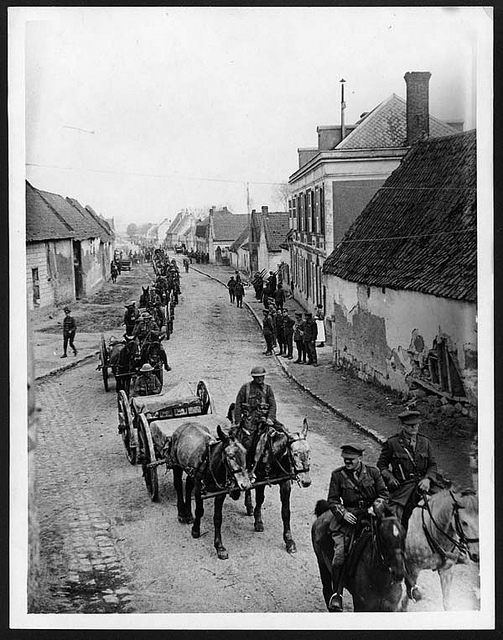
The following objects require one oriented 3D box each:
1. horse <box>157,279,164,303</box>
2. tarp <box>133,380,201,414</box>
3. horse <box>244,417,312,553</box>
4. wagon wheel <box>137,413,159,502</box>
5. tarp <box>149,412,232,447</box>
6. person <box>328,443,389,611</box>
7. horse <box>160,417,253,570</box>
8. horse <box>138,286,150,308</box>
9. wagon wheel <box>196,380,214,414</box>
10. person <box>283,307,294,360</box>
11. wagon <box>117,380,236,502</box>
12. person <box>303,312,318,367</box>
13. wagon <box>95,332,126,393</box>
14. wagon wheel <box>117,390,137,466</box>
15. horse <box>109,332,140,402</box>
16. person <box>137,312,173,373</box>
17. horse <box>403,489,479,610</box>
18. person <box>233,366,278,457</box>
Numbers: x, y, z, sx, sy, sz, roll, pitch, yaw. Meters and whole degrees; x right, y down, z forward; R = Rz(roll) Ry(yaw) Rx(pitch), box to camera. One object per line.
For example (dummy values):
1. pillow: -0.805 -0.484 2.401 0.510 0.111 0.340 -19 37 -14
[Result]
1. horse: -4.153 -1.249 30.917 0.323 0.691 2.359 0 8 -8
2. tarp: -1.538 1.438 12.297 0.839 0.519 0.578 -14 5 -27
3. horse: 0.270 2.175 9.631 0.425 1.975 1.906 -1 6 -24
4. wagon wheel: -1.703 2.286 11.176 0.213 1.182 0.936 -5 12 -13
5. tarp: -1.047 1.784 11.261 1.291 0.436 1.672 -1 8 -12
6. person: 1.189 2.309 7.604 0.463 1.947 0.572 0 7 -5
7. horse: -0.795 2.223 9.911 0.685 2.803 3.095 -5 7 -18
8. horse: -4.253 -0.822 27.180 0.299 0.737 1.015 -2 8 -25
9. wagon wheel: -0.892 1.490 12.824 0.124 0.751 0.587 -5 6 -13
10. person: 1.282 0.553 23.614 0.401 0.687 1.752 10 54 -9
11. wagon: -1.565 2.337 11.922 1.243 1.248 2.305 0 16 -22
12. person: 1.894 0.654 21.565 0.463 1.706 1.025 1 6 5
13. wagon: -3.772 1.122 18.365 0.668 1.367 1.312 -3 26 11
14. wagon wheel: -2.362 2.105 12.810 0.213 1.125 0.898 -3 -11 -12
15. horse: -3.290 1.185 17.476 0.630 1.537 1.335 -2 7 -23
16. person: -2.718 0.702 18.173 0.591 1.771 2.599 0 19 -14
17. horse: 1.986 2.724 7.777 0.430 1.361 1.787 5 -16 -19
18. person: 0.048 1.498 10.198 0.515 1.839 0.594 -6 27 -15
